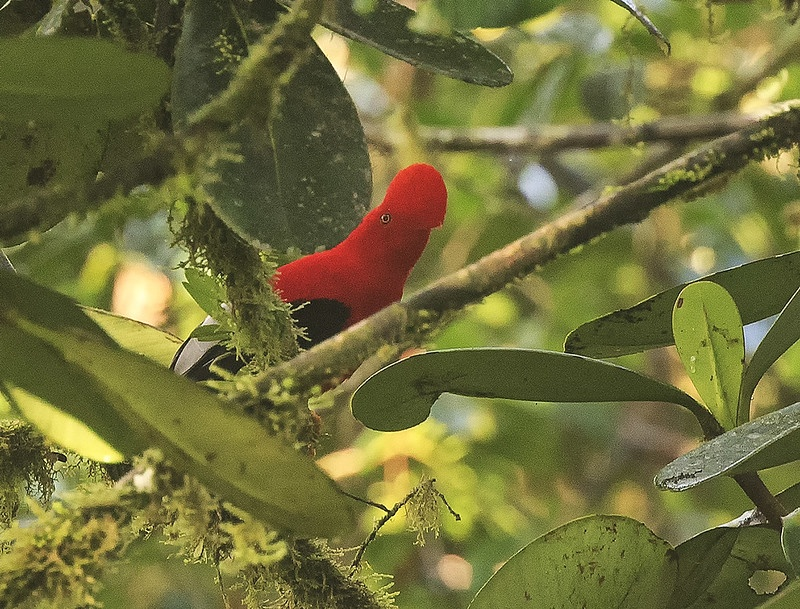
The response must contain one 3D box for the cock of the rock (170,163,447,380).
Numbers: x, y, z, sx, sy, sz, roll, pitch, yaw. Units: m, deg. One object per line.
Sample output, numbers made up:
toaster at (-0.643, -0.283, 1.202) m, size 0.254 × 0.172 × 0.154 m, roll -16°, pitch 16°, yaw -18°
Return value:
cock of the rock at (-0.124, -0.021, 1.760) m, size 0.513 × 0.349 × 0.177 m, roll 0°, pitch 16°, yaw 41°
